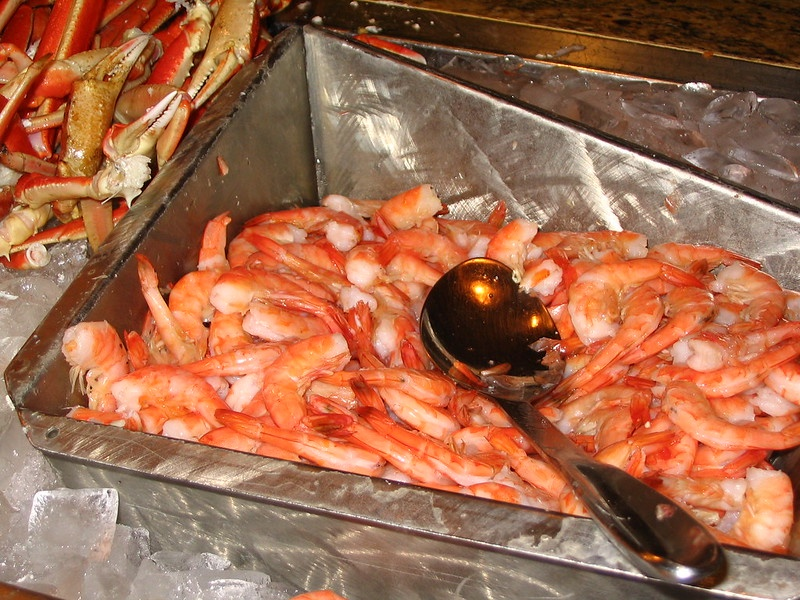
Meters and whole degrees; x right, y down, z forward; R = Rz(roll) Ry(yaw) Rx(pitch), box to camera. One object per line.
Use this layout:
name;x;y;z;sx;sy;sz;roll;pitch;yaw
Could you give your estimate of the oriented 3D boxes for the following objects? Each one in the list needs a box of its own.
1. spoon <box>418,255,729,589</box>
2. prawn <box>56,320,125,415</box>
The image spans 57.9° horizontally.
spoon;0.382;0.305;1.862;0.345;0.248;1.020;-9;43;-28
prawn;-0.783;0.176;1.887;0.150;0.214;0.085;-30;43;-35
